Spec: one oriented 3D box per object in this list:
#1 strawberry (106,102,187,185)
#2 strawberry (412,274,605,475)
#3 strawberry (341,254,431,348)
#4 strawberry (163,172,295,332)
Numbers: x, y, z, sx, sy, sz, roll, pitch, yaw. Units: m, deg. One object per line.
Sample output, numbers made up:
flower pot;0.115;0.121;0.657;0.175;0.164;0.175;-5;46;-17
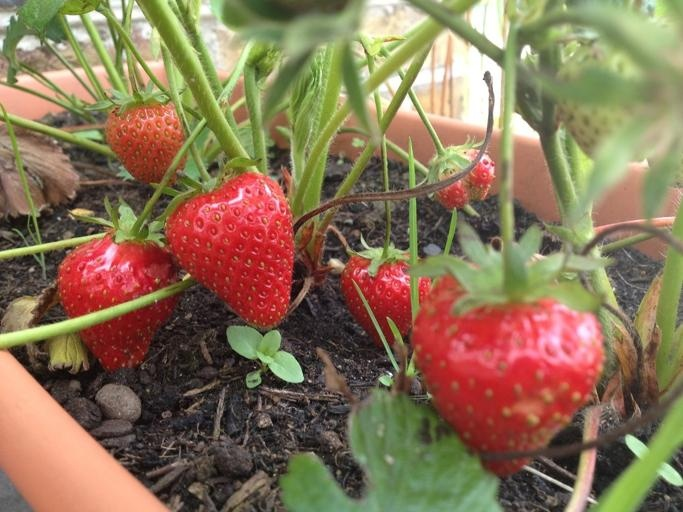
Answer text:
strawberry;-0.407;-0.210;1.365;0.128;0.150;0.138;0;15;41
strawberry;0.157;0.109;0.695;0.182;0.149;0.094;7;35;9
strawberry;0.068;0.053;1.205;0.140;0.163;0.139;-9;11;-37
strawberry;-0.154;0.002;1.027;0.164;0.194;0.099;-9;35;-13
